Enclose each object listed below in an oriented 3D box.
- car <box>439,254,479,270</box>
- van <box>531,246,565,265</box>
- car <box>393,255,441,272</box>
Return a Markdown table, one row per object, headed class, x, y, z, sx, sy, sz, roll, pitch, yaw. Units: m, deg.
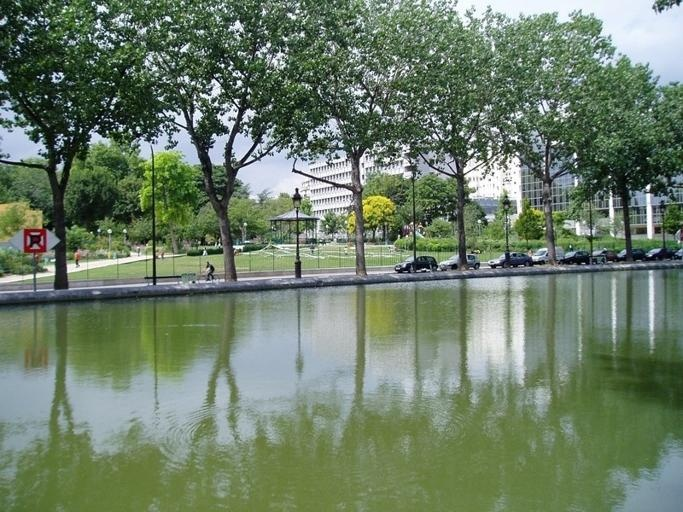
| class | x | y | z | sx | sy | sz | roll | pitch | yaw |
| --- | --- | --- | --- | --- | --- | --- | --- | --- | --- |
| car | 9.780 | 0.547 | 57.749 | 2.445 | 1.176 | 3.988 | -2 | 2 | 45 |
| van | 19.976 | 0.001 | 66.270 | 3.664 | 2.096 | 2.214 | 0 | 0 | 0 |
| car | 5.875 | 0.750 | 54.184 | 2.884 | 1.131 | 1.460 | 3 | -5 | -34 |
